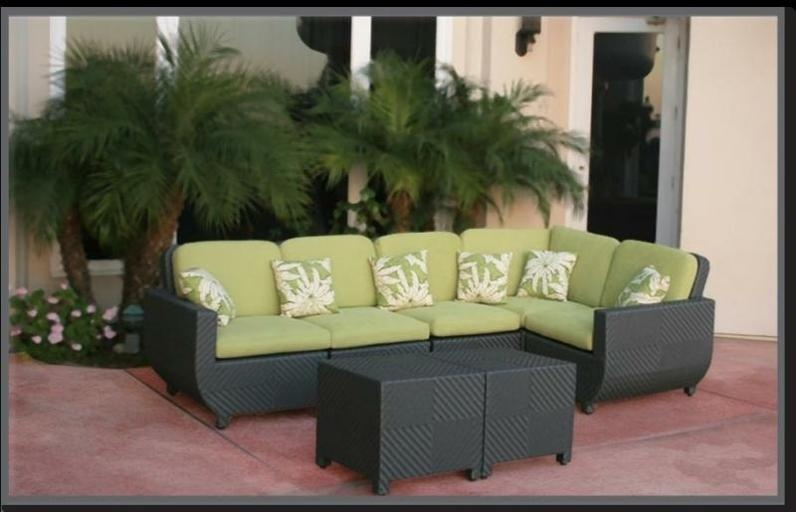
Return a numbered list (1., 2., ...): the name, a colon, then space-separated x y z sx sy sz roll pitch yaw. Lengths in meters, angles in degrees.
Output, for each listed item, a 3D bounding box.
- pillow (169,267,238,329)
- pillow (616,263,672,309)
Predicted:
1. pillow: -1.452 0.345 5.888 0.125 0.424 0.380 -34 34 15
2. pillow: 1.875 0.233 6.156 0.360 0.269 0.119 -33 -22 2
